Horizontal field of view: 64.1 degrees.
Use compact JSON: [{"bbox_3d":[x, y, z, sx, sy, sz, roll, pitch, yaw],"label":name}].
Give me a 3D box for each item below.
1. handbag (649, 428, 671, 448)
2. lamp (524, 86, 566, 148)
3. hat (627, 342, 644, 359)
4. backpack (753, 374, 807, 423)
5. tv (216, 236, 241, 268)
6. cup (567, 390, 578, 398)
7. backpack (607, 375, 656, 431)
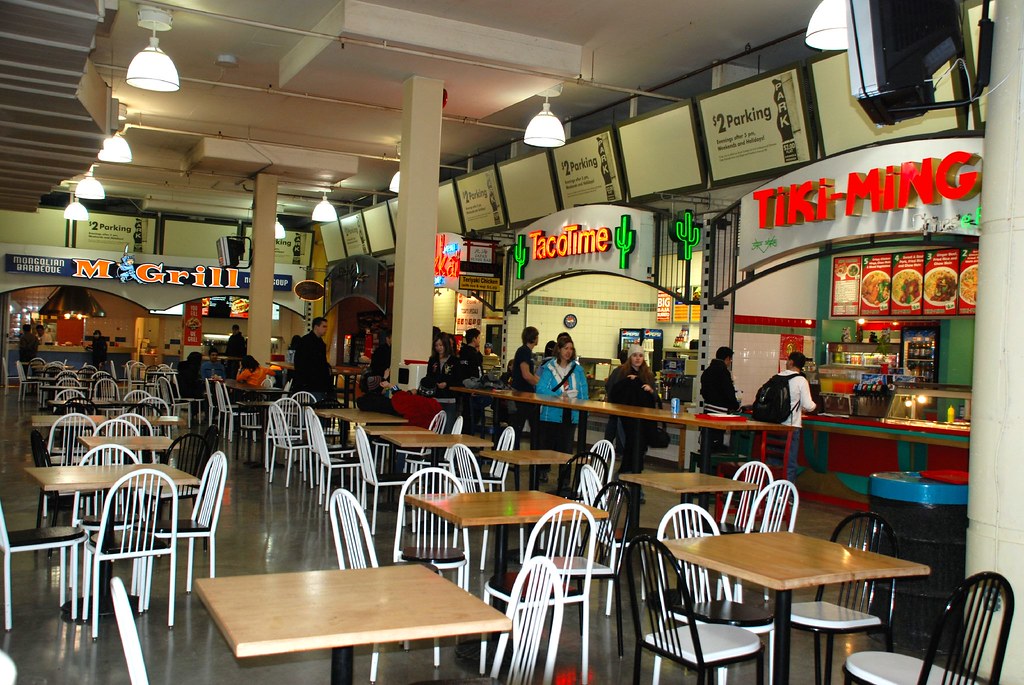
[{"bbox_3d":[1.614,1.066,8.962,0.238,0.237,0.249,-3,3,-11],"label":"handbag"},{"bbox_3d":[0.391,-2.560,9.313,0.505,0.501,0.484,6,10,8],"label":"lamp"},{"bbox_3d":[1.444,0.080,9.360,0.150,0.147,0.197,1,-5,-9],"label":"hat"},{"bbox_3d":[3.100,0.661,9.060,0.598,0.555,0.407,8,-5,-20],"label":"backpack"},{"bbox_3d":[-6.089,-1.936,17.450,0.652,0.671,0.575,1,1,-35],"label":"tv"},{"bbox_3d":[0.735,0.639,9.995,0.117,0.083,0.113,-1,-1,0],"label":"cup"},{"bbox_3d":[1.363,0.689,9.140,0.638,0.581,0.339,0,-14,2],"label":"backpack"}]
